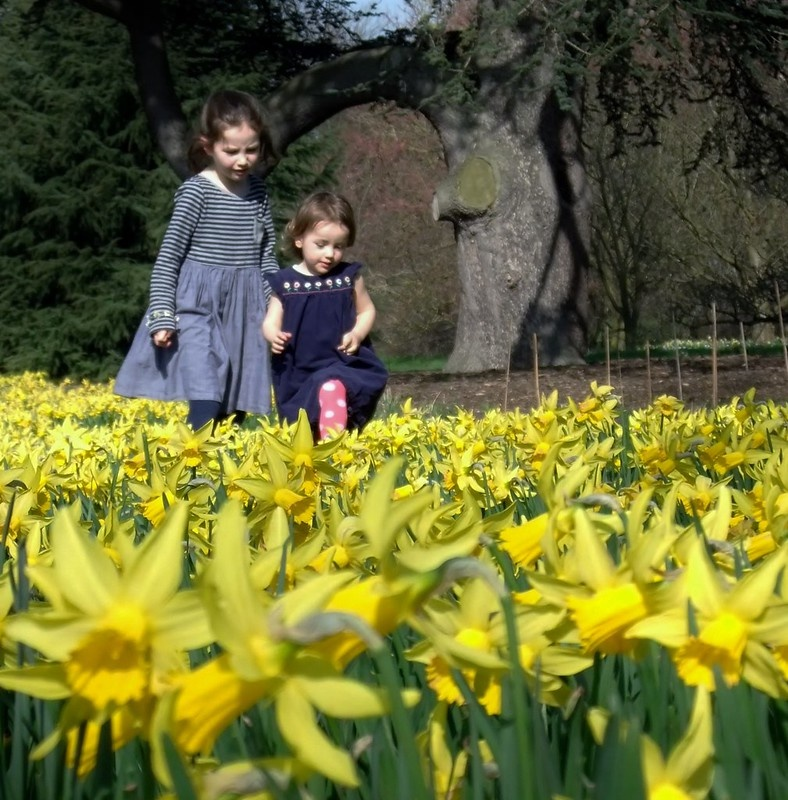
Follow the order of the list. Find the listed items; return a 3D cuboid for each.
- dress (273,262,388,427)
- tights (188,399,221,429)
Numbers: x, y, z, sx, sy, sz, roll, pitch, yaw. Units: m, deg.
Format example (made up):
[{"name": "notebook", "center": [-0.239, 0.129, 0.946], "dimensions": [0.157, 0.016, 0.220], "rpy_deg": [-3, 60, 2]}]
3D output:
[{"name": "dress", "center": [-0.353, -0.304, 4.036], "dimensions": [0.400, 0.976, 0.350], "rpy_deg": [-4, -23, 8]}, {"name": "tights", "center": [-0.827, 0.057, 3.567], "dimensions": [0.088, 0.163, 0.089], "rpy_deg": [22, 17, 39]}]
